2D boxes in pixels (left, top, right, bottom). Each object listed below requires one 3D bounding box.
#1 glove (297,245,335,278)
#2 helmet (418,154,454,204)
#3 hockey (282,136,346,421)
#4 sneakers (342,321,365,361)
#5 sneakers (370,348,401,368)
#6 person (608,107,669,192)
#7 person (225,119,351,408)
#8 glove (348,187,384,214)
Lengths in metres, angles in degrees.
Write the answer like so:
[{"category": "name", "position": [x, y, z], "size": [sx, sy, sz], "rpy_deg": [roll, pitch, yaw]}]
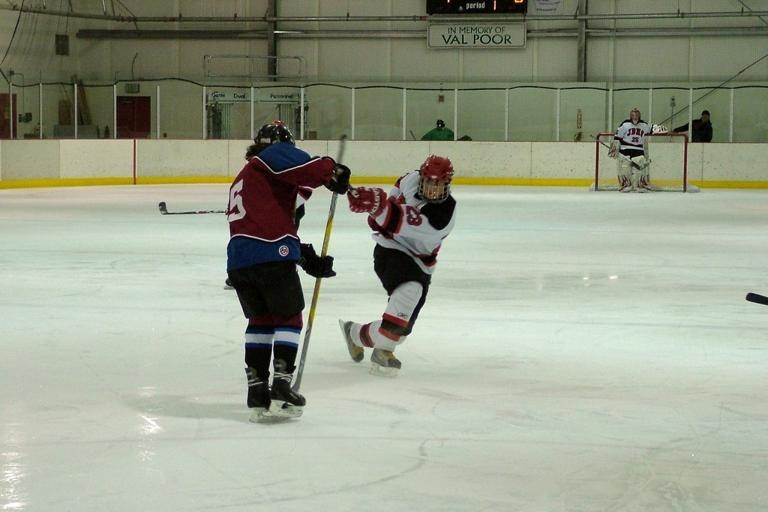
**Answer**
[{"category": "glove", "position": [-0.321, 0.040, 4.140], "size": [0.196, 0.105, 0.083], "rpy_deg": [25, 55, 33]}, {"category": "helmet", "position": [0.263, -0.396, 4.489], "size": [0.167, 0.225, 0.201], "rpy_deg": [1, 14, 1]}, {"category": "hockey", "position": [-0.306, 0.129, 4.368], "size": [0.236, 1.456, 0.039], "rpy_deg": [0, -12, 34]}, {"category": "sneakers", "position": [-0.151, 0.465, 4.734], "size": [0.113, 0.233, 0.083], "rpy_deg": [-11, 4, 3]}, {"category": "sneakers", "position": [0.018, 0.528, 4.530], "size": [0.157, 0.095, 0.080], "rpy_deg": [5, -8, 29]}, {"category": "person", "position": [4.454, -1.862, 15.560], "size": [0.939, 1.425, 0.549], "rpy_deg": [0, 14, -4]}, {"category": "person", "position": [-0.440, 0.062, 4.066], "size": [0.564, 1.242, 0.631], "rpy_deg": [0, 14, -3]}, {"category": "glove", "position": [-0.086, -0.269, 4.279], "size": [0.129, 0.059, 0.169], "rpy_deg": [0, -5, 43]}]
